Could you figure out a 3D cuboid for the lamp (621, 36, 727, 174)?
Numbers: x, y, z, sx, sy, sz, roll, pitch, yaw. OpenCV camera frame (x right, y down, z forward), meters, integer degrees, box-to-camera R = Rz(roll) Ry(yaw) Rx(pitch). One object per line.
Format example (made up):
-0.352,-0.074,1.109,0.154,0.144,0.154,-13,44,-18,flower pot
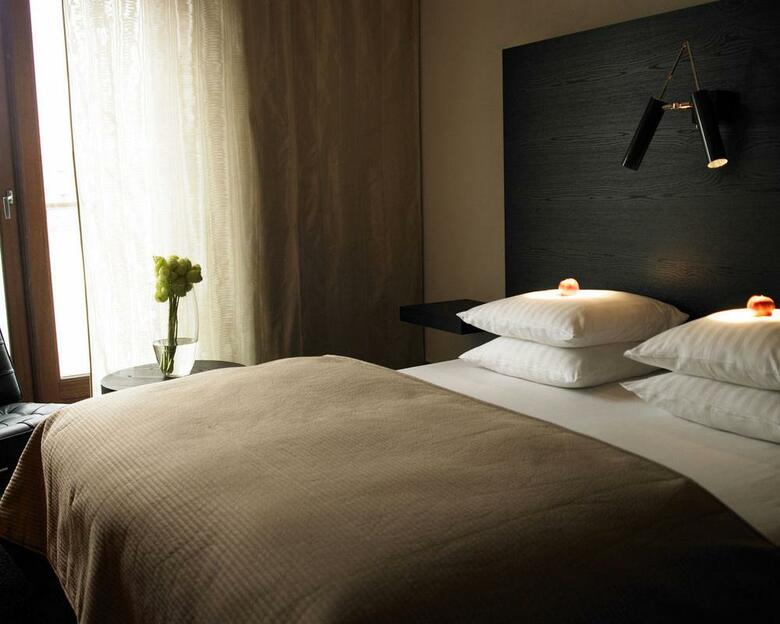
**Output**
1.128,-0.752,2.425,0.220,0.410,0.406,-7,13,-27,lamp

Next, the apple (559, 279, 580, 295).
0.732,-0.112,2.670,0.068,0.051,0.090,2,8,22,apple

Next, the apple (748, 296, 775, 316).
1.174,-0.022,2.068,0.071,0.073,0.068,-1,1,-11,apple
